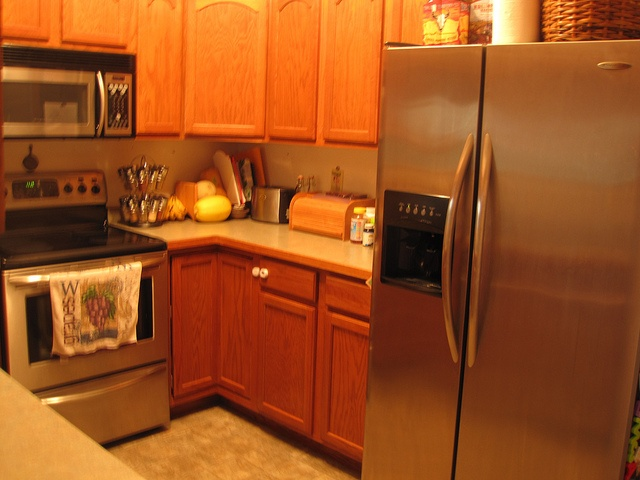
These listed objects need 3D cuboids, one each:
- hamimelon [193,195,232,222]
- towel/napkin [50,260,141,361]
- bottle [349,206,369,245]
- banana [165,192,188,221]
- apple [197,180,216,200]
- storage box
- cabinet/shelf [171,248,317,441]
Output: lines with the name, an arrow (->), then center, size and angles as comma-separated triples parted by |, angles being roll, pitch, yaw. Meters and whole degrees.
hamimelon -> -0.649, -0.192, 3.201 | 0.180, 0.139, 0.148 | -5, 55, -22
towel/napkin -> -1.077, 0.317, 2.502 | 0.414, 0.437, 0.049 | -8, 10, -42
bottle -> 0.203, -0.080, 2.786 | 0.097, 0.173, 0.100 | 3, 12, -1
banana -> -0.879, -0.212, 3.234 | 0.121, 0.180, 0.125 | -14, 21, -28
apple -> -0.714, -0.320, 3.307 | 0.104, 0.116, 0.132 | -24, -8, -25
storage box -> 0.050, -0.130, 3.011 | 0.358, 0.227, 0.286 | 11, 4, 31
cabinet/shelf -> -0.202, 0.481, 2.976 | 0.491, 0.890, 0.812 | -11, 17, -44
